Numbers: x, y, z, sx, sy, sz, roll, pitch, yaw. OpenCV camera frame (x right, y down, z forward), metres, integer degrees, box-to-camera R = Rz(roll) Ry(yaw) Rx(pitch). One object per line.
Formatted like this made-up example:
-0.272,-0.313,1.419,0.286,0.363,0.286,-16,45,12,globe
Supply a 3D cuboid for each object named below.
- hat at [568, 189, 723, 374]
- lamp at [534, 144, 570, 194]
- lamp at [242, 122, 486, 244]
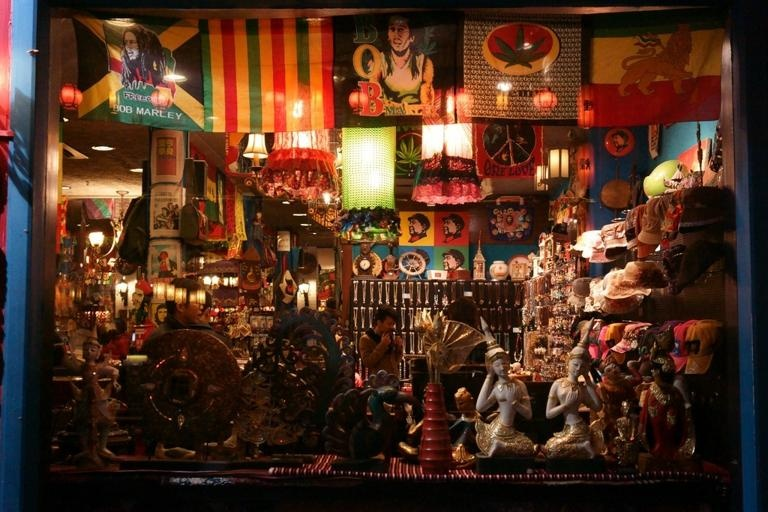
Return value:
1.868,0.196,5.187,0.528,1.062,0.799,19,-3,-30,hat
1.472,-0.793,7.257,0.345,0.342,0.283,0,-5,2,lamp
-0.154,-0.540,5.965,1.710,0.851,1.155,1,-8,5,lamp
